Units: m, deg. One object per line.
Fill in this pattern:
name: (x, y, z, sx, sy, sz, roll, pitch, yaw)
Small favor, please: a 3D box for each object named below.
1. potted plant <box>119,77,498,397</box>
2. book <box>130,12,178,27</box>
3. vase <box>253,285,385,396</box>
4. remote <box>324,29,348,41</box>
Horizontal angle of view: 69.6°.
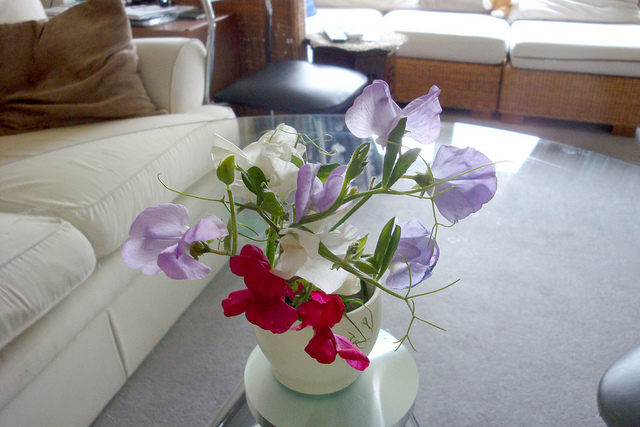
potted plant: (-0.040, 0.098, 0.806, 0.518, 0.437, 0.459, 9, 23, 34)
book: (-0.721, -0.833, 2.002, 0.109, 0.030, 0.117, 25, 42, 39)
vase: (-0.009, 0.231, 0.867, 0.212, 0.149, 0.204, -6, 2, -25)
remote: (0.081, -0.834, 2.160, 0.057, 0.012, 0.110, -4, 39, -5)
